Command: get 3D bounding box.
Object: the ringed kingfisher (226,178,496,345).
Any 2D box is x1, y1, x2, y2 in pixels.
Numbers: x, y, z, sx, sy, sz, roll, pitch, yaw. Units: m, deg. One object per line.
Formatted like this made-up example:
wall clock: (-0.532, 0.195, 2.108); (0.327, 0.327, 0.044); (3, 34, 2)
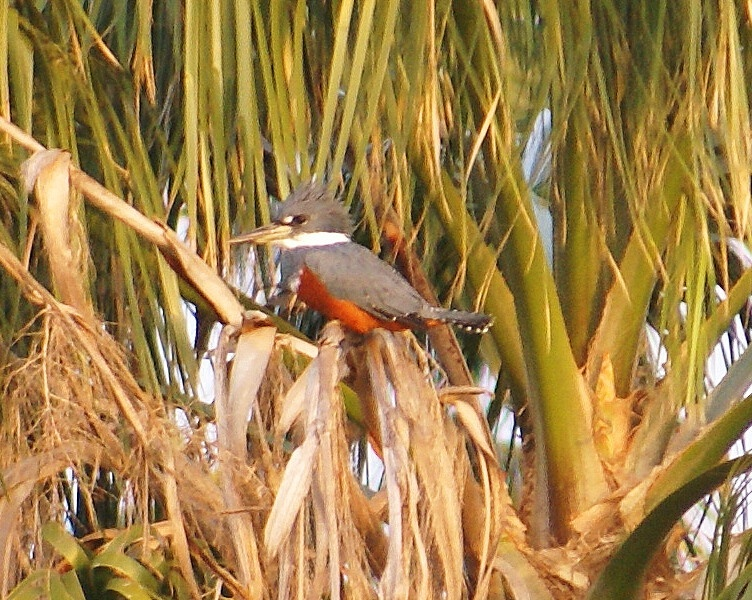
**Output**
ringed kingfisher: (-0.035, -0.061, 7.029); (0.872, 0.696, 0.327); (7, -10, -6)
